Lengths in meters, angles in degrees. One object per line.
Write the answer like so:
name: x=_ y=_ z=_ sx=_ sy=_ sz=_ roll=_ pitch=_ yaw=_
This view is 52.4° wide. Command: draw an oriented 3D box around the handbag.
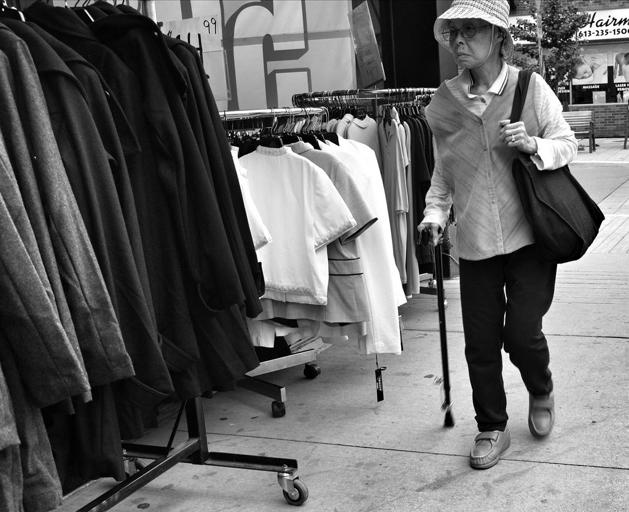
handbag: x=1.064 y=-0.222 z=2.763 sx=0.371 sy=0.477 sz=0.262 roll=-4 pitch=10 yaw=8

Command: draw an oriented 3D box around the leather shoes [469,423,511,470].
leather shoes: x=0.806 y=0.862 z=2.976 sx=0.195 sy=0.150 sz=0.253 roll=8 pitch=13 yaw=28

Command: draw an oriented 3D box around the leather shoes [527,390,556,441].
leather shoes: x=1.097 y=0.755 z=3.093 sx=0.085 sy=0.273 sz=0.104 roll=0 pitch=-6 yaw=32
